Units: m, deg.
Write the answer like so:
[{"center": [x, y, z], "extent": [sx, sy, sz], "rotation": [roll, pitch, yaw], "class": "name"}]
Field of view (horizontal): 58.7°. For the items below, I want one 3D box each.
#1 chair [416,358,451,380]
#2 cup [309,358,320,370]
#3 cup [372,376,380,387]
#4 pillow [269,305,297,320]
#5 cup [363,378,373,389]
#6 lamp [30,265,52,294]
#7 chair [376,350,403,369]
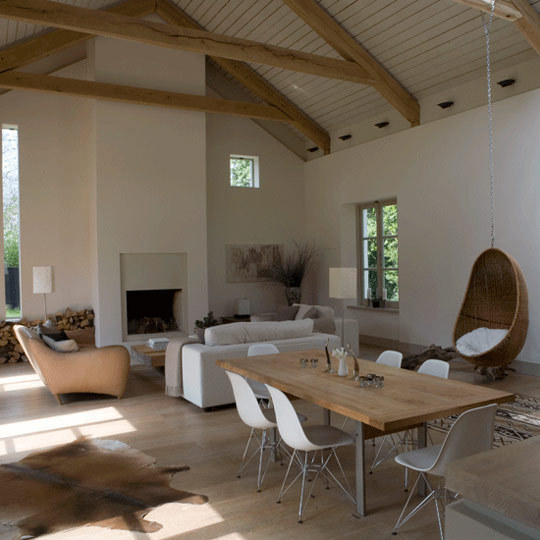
[{"center": [1.159, 0.704, 3.431], "extent": [0.174, 0.232, 0.201], "rotation": [-1, 0, 33], "class": "chair"}, {"center": [0.335, 0.709, 3.646], "extent": [0.057, 0.049, 0.046], "rotation": [5, 14, 31], "class": "cup"}, {"center": [0.665, 0.703, 3.012], "extent": [0.039, 0.047, 0.051], "rotation": [0, 6, -20], "class": "cup"}, {"center": [0.225, 0.738, 8.356], "extent": [0.304, 0.185, 0.105], "rotation": [-1, -22, 44], "class": "pillow"}, {"center": [0.608, 0.704, 2.984], "extent": [0.055, 0.046, 0.052], "rotation": [-1, 6, 0], "class": "cup"}, {"center": [-3.684, 0.163, 7.788], "extent": [0.283, 0.459, 0.572], "rotation": [-2, 0, -23], "class": "lamp"}, {"center": [0.969, 0.724, 3.910], "extent": [0.170, 0.222, 0.191], "rotation": [0, -2, 38], "class": "chair"}]
